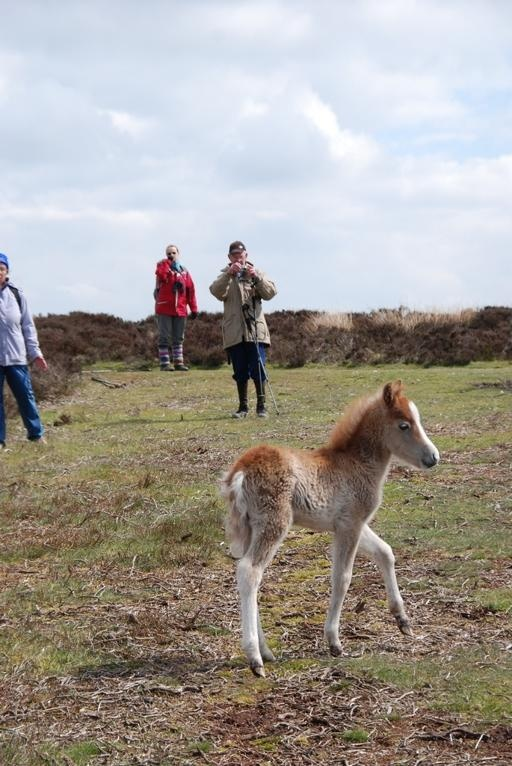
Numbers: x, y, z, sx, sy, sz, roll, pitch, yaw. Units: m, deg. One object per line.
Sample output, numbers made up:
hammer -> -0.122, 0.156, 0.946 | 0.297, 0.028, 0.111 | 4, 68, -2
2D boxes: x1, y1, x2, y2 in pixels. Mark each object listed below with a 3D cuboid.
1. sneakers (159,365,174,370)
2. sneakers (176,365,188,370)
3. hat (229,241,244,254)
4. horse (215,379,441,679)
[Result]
sneakers -> -2.181, -0.355, 22.814 | 0.139, 0.166, 0.401 | -2, 1, -40
sneakers -> -1.803, -0.338, 22.869 | 0.323, 0.126, 0.105 | 4, 13, 16
hat -> -0.299, -1.943, 13.962 | 0.201, 0.162, 0.327 | 0, 7, -5
horse -> 0.344, 0.755, 5.301 | 1.303, 1.450, 0.550 | -6, 10, -40
